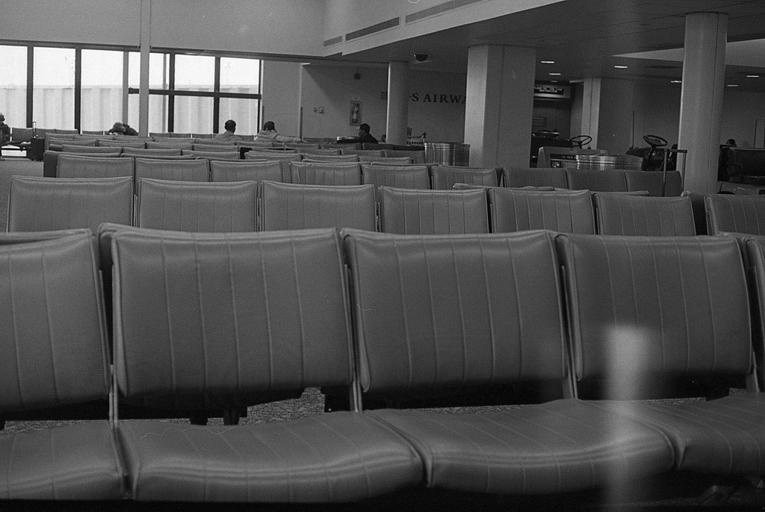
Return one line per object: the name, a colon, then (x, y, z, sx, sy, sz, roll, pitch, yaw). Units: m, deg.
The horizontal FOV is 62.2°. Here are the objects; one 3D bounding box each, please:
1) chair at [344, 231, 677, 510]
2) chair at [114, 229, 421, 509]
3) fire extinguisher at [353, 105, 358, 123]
chair: (0.381, 0.375, 2.335, 0.846, 1.075, 0.825, -1, -1, -18)
chair: (-0.479, 0.349, 2.212, 0.914, 0.685, 0.902, -2, 10, -18)
fire extinguisher: (-0.965, -5.100, 22.765, 0.256, 0.596, 0.187, -3, 7, -20)
